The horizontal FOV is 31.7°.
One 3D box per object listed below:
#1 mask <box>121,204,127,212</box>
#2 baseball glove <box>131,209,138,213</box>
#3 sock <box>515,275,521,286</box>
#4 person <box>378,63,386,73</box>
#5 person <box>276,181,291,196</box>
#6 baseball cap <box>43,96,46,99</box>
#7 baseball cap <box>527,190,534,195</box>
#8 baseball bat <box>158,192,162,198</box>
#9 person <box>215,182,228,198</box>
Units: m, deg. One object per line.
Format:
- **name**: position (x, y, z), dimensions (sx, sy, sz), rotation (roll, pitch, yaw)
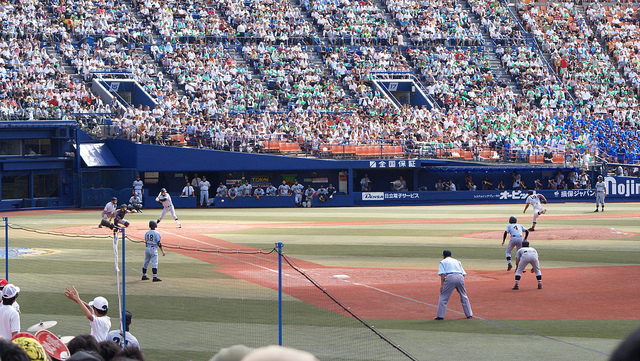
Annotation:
- **mask**: position (-12.720, 1.732, 73.020), dimensions (0.414, 0.438, 0.498), rotation (-2, -35, -16)
- **baseball glove**: position (-13.174, 2.090, 79.221), dimensions (0.462, 0.164, 0.785), rotation (1, -4, -4)
- **sock**: position (11.396, 5.677, 64.479), dimensions (0.271, 0.733, 0.511), rotation (6, 15, 10)
- **person**: position (5.292, -9.509, 95.579), dimensions (0.809, 1.140, 0.424), rotation (4, -43, -4)
- **person**: position (-2.870, 0.613, 87.765), dimensions (1.161, 1.817, 0.634), rotation (-2, -14, 0)
- **baseball cap**: position (-21.278, -6.346, 86.153), dimensions (0.224, 0.201, 0.199), rotation (-2, 9, -9)
- **baseball cap**: position (14.555, 0.855, 76.978), dimensions (0.485, 0.197, 0.596), rotation (-1, 2, 5)
- **baseball bat**: position (-11.706, 1.013, 81.622), dimensions (0.099, 0.430, 0.075), rotation (25, -3, 2)
- **person**: position (-7.658, 0.727, 87.313), dimensions (0.874, 0.941, 0.889), rotation (1, 15, -8)
